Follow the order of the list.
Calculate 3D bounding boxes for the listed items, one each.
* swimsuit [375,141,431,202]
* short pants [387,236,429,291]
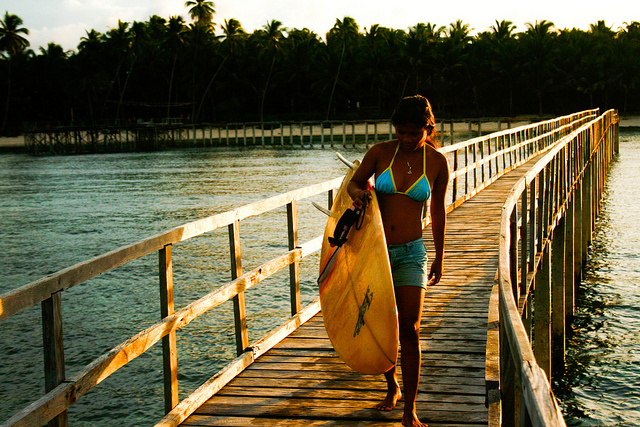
[{"bbox_3d":[0.928,-0.459,8.799,0.607,0.714,0.297,14,2,3],"label":"swimsuit"},{"bbox_3d":[0.936,0.548,8.714,0.478,0.543,0.332,-13,-21,-9],"label":"short pants"}]
